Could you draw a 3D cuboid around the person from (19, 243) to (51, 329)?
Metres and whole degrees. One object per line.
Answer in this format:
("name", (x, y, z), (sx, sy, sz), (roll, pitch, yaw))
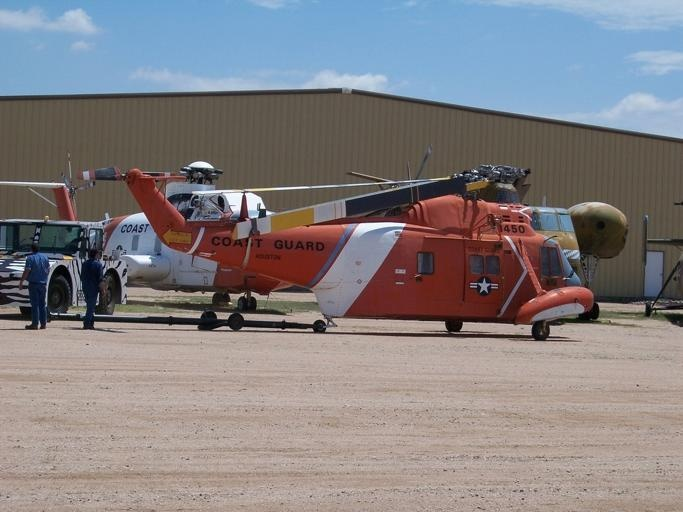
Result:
("person", (-7.052, 0.687, 28.692), (0.643, 1.877, 0.866), (4, 3, -14))

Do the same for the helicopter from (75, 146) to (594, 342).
("helicopter", (-0.646, -0.322, 35.223), (19.682, 6.124, 4.755), (1, 0, 7))

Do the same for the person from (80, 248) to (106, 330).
("person", (-5.805, 0.762, 29.309), (0.671, 1.877, 0.583), (5, 0, 44))
